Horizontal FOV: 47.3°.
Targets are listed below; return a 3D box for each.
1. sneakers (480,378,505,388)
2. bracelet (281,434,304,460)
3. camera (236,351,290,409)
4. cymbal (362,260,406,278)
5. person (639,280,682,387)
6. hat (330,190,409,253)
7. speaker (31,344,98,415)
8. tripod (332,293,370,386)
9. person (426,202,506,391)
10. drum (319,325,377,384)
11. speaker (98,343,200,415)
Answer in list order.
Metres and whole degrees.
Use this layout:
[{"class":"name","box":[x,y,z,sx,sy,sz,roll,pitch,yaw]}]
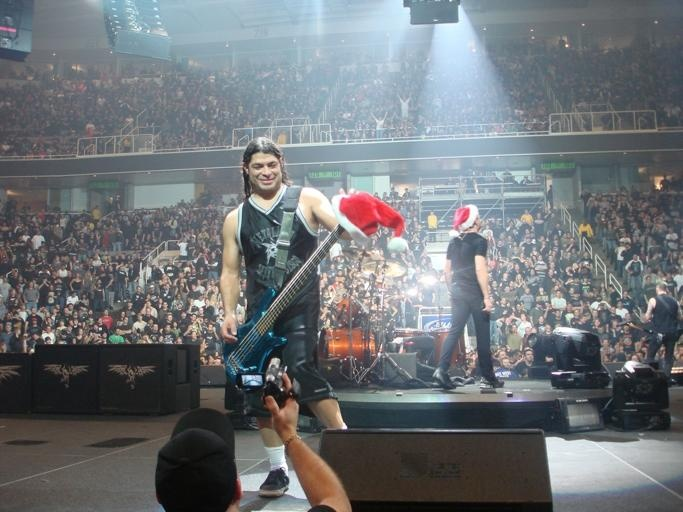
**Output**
[{"class":"sneakers","box":[2.307,1.918,11.723,0.435,0.184,0.154,0,-3,-7]},{"class":"bracelet","box":[-0.481,1.969,8.040,0.234,0.243,0.077,1,-11,9]},{"class":"camera","box":[-0.802,1.317,8.237,0.526,0.183,0.514,19,-6,-40]},{"class":"cymbal","box":[0.793,0.222,14.158,0.475,0.102,0.462,7,-12,-36]},{"class":"person","box":[6.337,1.456,15.428,0.674,1.918,1.014,-1,-4,22]},{"class":"hat","box":[0.325,-0.500,9.016,0.410,0.562,0.910,26,49,25]},{"class":"speaker","box":[-4.827,2.123,13.267,0.668,1.145,1.258,-18,-19,37]},{"class":"tripod","box":[0.166,1.445,12.904,0.743,1.449,1.274,2,-11,-4]},{"class":"person","box":[1.888,0.601,11.723,0.881,2.789,0.546,0,-4,8]},{"class":"drum","box":[0.174,1.541,13.101,0.810,0.672,0.702,-2,1,-3]},{"class":"speaker","box":[-3.410,2.169,13.570,1.979,1.191,1.893,0,-8,-18]}]
